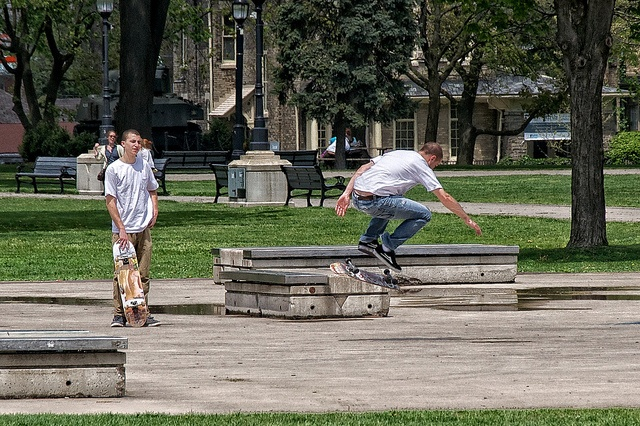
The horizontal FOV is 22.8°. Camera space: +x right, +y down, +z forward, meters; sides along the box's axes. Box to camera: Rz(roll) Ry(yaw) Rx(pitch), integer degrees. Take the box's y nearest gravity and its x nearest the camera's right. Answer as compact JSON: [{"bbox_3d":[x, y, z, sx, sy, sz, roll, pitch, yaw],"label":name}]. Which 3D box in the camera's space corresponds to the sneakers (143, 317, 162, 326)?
[{"bbox_3d":[-3.513,2.284,33.467,0.242,0.176,0.345,10,17,35],"label":"sneakers"}]

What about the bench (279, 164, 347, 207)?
[{"bbox_3d":[-0.184,-0.763,48.791,1.449,1.083,1.858,6,-2,-37],"label":"bench"}]

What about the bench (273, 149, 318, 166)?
[{"bbox_3d":[-0.857,-1.941,55.848,1.532,0.723,0.607,3,3,38],"label":"bench"}]

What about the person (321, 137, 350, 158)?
[{"bbox_3d":[0.572,-2.802,67.844,0.812,0.958,1.106,1,-13,-40],"label":"person"}]

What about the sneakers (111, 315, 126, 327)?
[{"bbox_3d":[-4.276,2.279,33.432,0.280,0.223,0.175,5,16,22],"label":"sneakers"}]

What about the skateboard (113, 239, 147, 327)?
[{"bbox_3d":[-4.023,1.490,33.444,0.507,1.975,0.294,-10,-6,-11],"label":"skateboard"}]

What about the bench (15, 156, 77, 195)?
[{"bbox_3d":[-9.544,-1.327,55.665,2.479,1.219,1.064,3,6,41],"label":"bench"}]

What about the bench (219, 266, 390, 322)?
[{"bbox_3d":[-0.380,1.754,34.107,3.523,0.978,0.590,1,15,6],"label":"bench"}]
